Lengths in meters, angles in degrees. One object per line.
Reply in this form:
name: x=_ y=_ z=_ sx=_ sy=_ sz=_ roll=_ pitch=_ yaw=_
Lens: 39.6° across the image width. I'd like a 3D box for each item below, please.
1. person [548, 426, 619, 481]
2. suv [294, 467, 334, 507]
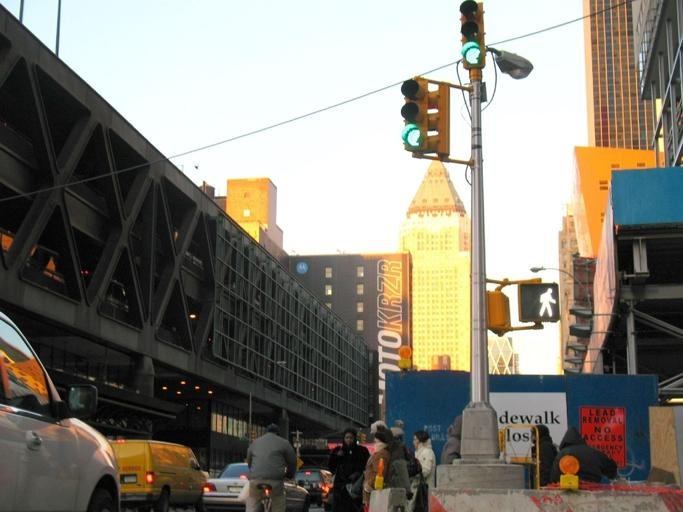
person: x=4.058 y=3.268 z=15.819 sx=1.002 sy=1.061 sz=1.156 roll=-3 pitch=-19 yaw=7
suv: x=-0.949 y=8.976 z=36.563 sx=1.449 sy=1.569 sz=3.328 roll=-1 pitch=-4 yaw=8
